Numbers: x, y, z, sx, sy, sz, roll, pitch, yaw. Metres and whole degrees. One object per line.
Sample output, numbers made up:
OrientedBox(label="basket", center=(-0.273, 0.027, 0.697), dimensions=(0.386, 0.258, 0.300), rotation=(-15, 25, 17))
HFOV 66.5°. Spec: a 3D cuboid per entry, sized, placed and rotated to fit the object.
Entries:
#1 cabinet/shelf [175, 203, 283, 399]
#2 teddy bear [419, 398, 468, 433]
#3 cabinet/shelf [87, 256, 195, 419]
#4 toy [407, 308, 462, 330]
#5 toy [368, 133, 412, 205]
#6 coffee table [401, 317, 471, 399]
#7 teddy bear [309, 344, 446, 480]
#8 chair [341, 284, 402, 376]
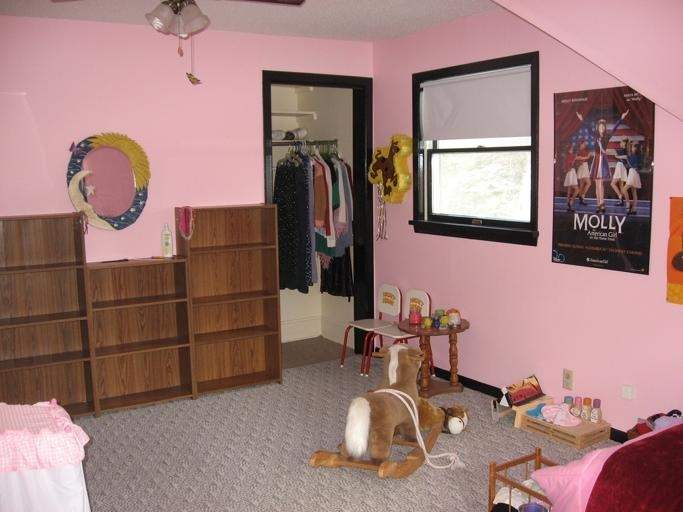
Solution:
OrientedBox(label="cabinet/shelf", center=(-1.115, 0.208, 4.864), dimensions=(0.787, 1.683, 0.386), rotation=(24, 21, 34))
OrientedBox(label="teddy bear", center=(0.743, 1.175, 3.820), dimensions=(0.363, 0.172, 0.222), rotation=(19, 8, -29))
OrientedBox(label="cabinet/shelf", center=(-1.680, 0.673, 4.435), dimensions=(0.713, 1.252, 0.310), rotation=(-6, 12, -28))
OrientedBox(label="toy", center=(0.812, 0.523, 4.504), dimensions=(0.445, 0.144, 0.198), rotation=(1, 10, 10))
OrientedBox(label="toy", center=(0.476, -0.858, 5.025), dimensions=(0.162, 0.710, 0.594), rotation=(0, 10, -34))
OrientedBox(label="coffee table", center=(0.883, 0.874, 4.571), dimensions=(0.435, 0.511, 0.465), rotation=(5, -17, -8))
OrientedBox(label="teddy bear", center=(0.288, 1.043, 3.530), dimensions=(0.923, 0.695, 0.572), rotation=(-10, 14, -42))
OrientedBox(label="chair", center=(0.294, 0.693, 5.016), dimensions=(0.477, 0.834, 0.392), rotation=(-2, 7, -38))
